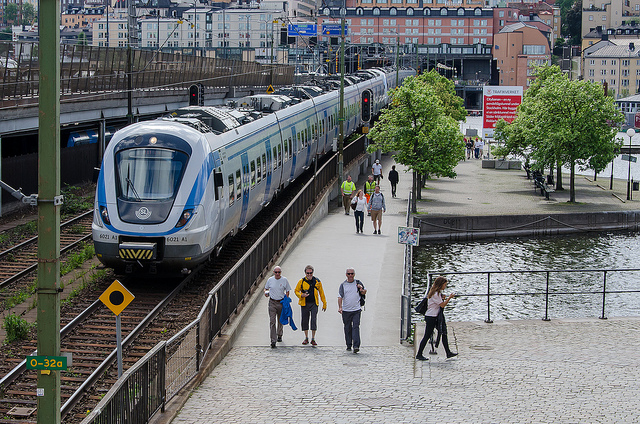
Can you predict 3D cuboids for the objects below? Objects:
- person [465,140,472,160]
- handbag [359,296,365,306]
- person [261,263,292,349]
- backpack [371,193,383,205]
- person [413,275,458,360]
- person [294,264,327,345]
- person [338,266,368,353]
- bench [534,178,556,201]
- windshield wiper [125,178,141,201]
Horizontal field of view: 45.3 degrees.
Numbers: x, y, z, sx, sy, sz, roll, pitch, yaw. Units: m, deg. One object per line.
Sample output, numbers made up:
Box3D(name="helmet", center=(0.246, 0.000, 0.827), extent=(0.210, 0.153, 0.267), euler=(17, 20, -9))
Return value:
Box3D(name="person", center=(14.057, -5.902, 72.170), extent=(0.463, 1.544, 1.774), euler=(4, 12, 12))
Box3D(name="handbag", center=(0.983, 2.103, 17.891), extent=(0.172, 0.158, 0.040), euler=(0, -2, -34))
Box3D(name="person", center=(-1.016, 2.226, 18.374), extent=(0.595, 2.013, 1.034), euler=(1, 11, -5))
Box3D(name="backpack", center=(2.362, -0.522, 31.746), extent=(0.299, 0.458, 0.492), euler=(-2, -3, 20))
Box3D(name="person", center=(2.680, 2.416, 17.580), extent=(0.981, 1.938, 1.202), euler=(8, 13, 26))
Box3D(name="person", center=(-0.232, 2.290, 18.370), extent=(0.707, 1.926, 1.181), euler=(2, 11, -2))
Box3D(name="person", center=(0.734, 2.397, 17.916), extent=(0.577, 1.820, 0.415), euler=(2, 11, 2))
Box3D(name="bench", center=(15.263, -1.553, 51.565), extent=(0.799, 1.019, 3.449), euler=(0, 15, 1))
Box3D(name="windshield wiper", center=(-4.932, -0.559, 20.275), extent=(0.089, 0.659, 0.016), euler=(-27, 2, 0))
